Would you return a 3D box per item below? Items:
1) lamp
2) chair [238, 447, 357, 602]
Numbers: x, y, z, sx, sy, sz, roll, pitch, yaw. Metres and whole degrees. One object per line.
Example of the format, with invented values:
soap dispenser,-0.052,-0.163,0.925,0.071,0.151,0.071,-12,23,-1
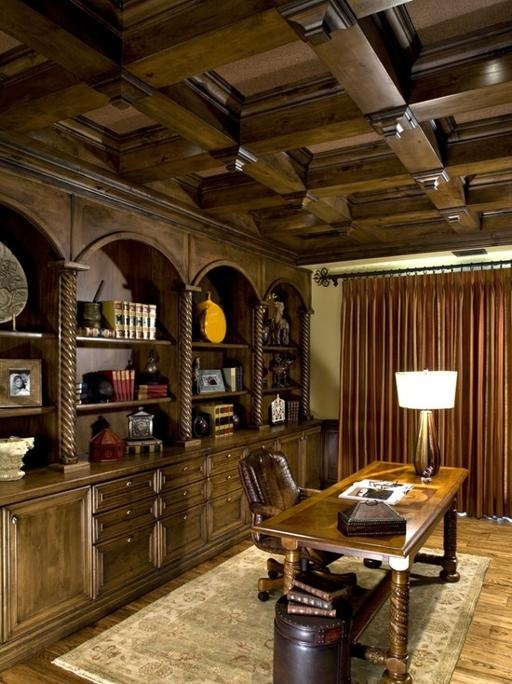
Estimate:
lamp,1.143,0.529,3.717,0.388,0.681,0.627,0,-2,16
chair,0.283,1.110,3.367,0.674,0.805,0.692,0,-2,-29
